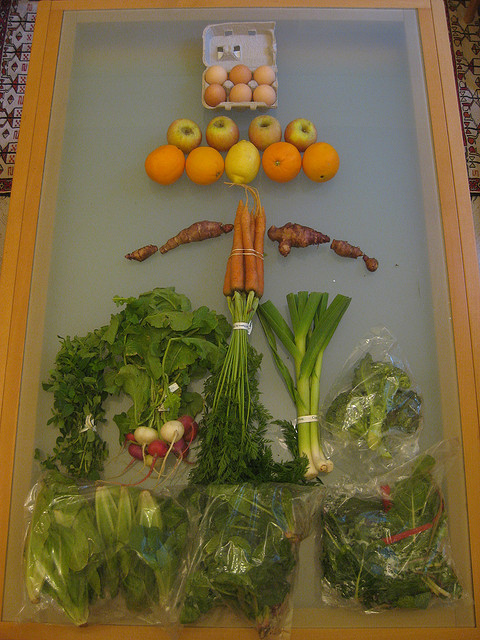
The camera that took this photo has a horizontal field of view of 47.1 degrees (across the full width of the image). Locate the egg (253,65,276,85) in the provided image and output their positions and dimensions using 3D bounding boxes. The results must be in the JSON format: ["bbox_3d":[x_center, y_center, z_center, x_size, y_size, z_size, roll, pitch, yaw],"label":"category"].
[{"bbox_3d":[0.077,-0.756,1.731,0.054,0.069,0.059,3,-38,0],"label":"egg"}]

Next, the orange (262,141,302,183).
[{"bbox_3d":[0.130,-0.476,1.647,0.105,0.113,0.107,-3,-12,32],"label":"orange"}]

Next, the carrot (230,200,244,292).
[{"bbox_3d":[-0.008,-0.210,1.556,0.032,0.237,0.035,2,-16,2],"label":"carrot"}]

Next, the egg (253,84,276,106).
[{"bbox_3d":[0.073,-0.689,1.692,0.059,0.074,0.061,1,8,-1],"label":"egg"}]

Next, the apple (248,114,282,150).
[{"bbox_3d":[0.075,-0.564,1.698,0.091,0.097,0.088,-7,-36,-6],"label":"apple"}]

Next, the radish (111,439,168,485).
[{"bbox_3d":[-0.254,0.338,1.463,0.136,0.110,0.125,2,31,10],"label":"radish"}]

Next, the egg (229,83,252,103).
[{"bbox_3d":[0.003,-0.695,1.695,0.056,0.070,0.056,1,0,5],"label":"egg"}]

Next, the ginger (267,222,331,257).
[{"bbox_3d":[0.172,-0.235,1.620,0.184,0.098,0.045,3,-10,2],"label":"ginger"}]

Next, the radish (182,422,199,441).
[{"bbox_3d":[-0.128,0.296,1.458,0.036,0.048,0.019,-2,-12,10],"label":"radish"}]

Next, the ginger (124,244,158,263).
[{"bbox_3d":[-0.288,-0.198,1.629,0.071,0.045,0.024,-22,-16,-12],"label":"ginger"}]

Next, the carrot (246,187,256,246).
[{"bbox_3d":[0.031,-0.298,1.615,0.026,0.190,0.025,-3,-7,0],"label":"carrot"}]

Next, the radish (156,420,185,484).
[{"bbox_3d":[-0.166,0.329,1.406,0.063,0.081,0.117,-10,-50,-7],"label":"radish"}]

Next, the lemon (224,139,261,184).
[{"bbox_3d":[0.005,-0.461,1.650,0.105,0.123,0.104,4,-10,-3],"label":"lemon"}]

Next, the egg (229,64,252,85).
[{"bbox_3d":[0.001,-0.756,1.728,0.059,0.074,0.059,3,8,-2],"label":"egg"}]

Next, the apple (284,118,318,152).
[{"bbox_3d":[0.186,-0.558,1.704,0.086,0.095,0.088,-10,-5,2],"label":"apple"}]

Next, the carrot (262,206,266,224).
[{"bbox_3d":[0.070,-0.308,1.629,0.008,0.047,0.011,10,-25,-29],"label":"carrot"}]

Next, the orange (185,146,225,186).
[{"bbox_3d":[-0.107,-0.463,1.636,0.111,0.097,0.065,0,-10,17],"label":"orange"}]

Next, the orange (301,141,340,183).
[{"bbox_3d":[0.243,-0.493,1.662,0.113,0.147,0.106,1,-10,10],"label":"orange"}]

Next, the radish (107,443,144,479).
[{"bbox_3d":[-0.291,0.375,1.439,0.063,0.030,0.026,-41,7,-1],"label":"radish"}]

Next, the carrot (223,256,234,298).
[{"bbox_3d":[-0.033,-0.119,1.542,0.027,0.111,0.028,2,-25,-2],"label":"carrot"}]

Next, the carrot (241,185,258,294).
[{"bbox_3d":[0.026,-0.204,1.538,0.035,0.255,0.037,-3,-13,2],"label":"carrot"}]

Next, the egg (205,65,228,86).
[{"bbox_3d":[-0.074,-0.764,1.724,0.061,0.062,0.072,-17,11,-23],"label":"egg"}]

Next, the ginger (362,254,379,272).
[{"bbox_3d":[0.384,-0.165,1.613,0.032,0.047,0.019,-38,-14,5],"label":"ginger"}]

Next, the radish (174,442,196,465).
[{"bbox_3d":[-0.147,0.354,1.457,0.030,0.070,0.036,-1,4,15],"label":"radish"}]

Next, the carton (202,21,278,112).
[{"bbox_3d":[0.004,-0.794,1.748,0.280,0.314,0.091,-1,1,-1],"label":"carton"}]

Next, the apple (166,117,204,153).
[{"bbox_3d":[-0.170,-0.548,1.667,0.101,0.112,0.103,-4,-1,-8],"label":"apple"}]

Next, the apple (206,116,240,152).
[{"bbox_3d":[-0.052,-0.558,1.699,0.092,0.098,0.095,-7,-20,-2],"label":"apple"}]

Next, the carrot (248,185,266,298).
[{"bbox_3d":[0.057,-0.201,1.563,0.033,0.240,0.035,0,-7,0],"label":"carrot"}]

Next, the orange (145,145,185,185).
[{"bbox_3d":[-0.227,-0.475,1.666,0.116,0.112,0.094,5,-10,-10],"label":"orange"}]

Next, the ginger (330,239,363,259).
[{"bbox_3d":[0.312,-0.206,1.613,0.082,0.045,0.037,26,-8,3],"label":"ginger"}]

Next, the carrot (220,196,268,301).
[{"bbox_3d":[0.025,-0.195,1.609,0.107,0.313,0.069,7,-19,0],"label":"carrot"}]

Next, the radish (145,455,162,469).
[{"bbox_3d":[-0.226,0.363,1.448,0.029,0.039,0.022,-37,6,21],"label":"radish"}]
